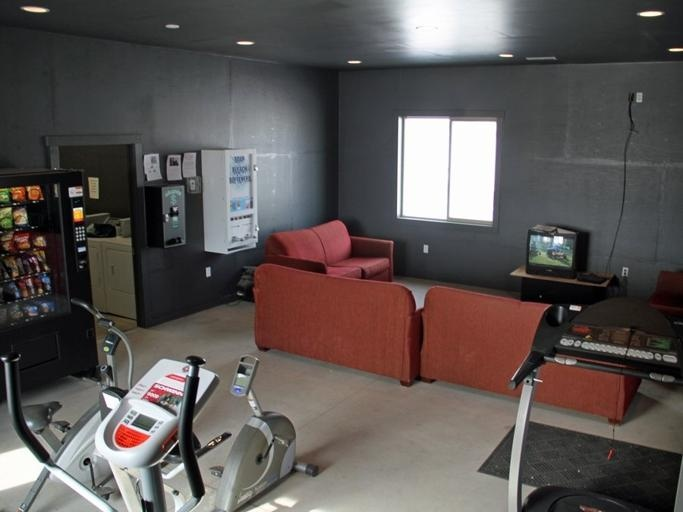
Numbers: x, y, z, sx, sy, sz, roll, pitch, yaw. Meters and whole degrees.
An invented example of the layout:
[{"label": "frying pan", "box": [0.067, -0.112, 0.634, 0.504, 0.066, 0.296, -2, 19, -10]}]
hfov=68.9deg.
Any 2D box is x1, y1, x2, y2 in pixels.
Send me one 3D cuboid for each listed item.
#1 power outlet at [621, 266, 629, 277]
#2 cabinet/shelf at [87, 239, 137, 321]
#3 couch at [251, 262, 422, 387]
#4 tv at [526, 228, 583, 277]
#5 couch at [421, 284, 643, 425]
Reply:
[{"label": "power outlet", "box": [4.322, 0.244, 7.584, 0.112, 0.161, 0.114, 9, 17, 37]}, {"label": "cabinet/shelf", "box": [-3.255, 0.339, 7.144, 0.982, 1.111, 0.295, 11, 18, 35]}, {"label": "couch", "box": [0.060, 0.658, 6.147, 2.201, 1.159, 1.200, 8, 17, 33]}, {"label": "tv", "box": [3.229, -0.096, 7.671, 0.757, 0.829, 0.710, 3, 2, 30]}, {"label": "couch", "box": [1.653, 1.033, 5.408, 1.840, 0.952, 0.913, 9, -15, 5]}]
